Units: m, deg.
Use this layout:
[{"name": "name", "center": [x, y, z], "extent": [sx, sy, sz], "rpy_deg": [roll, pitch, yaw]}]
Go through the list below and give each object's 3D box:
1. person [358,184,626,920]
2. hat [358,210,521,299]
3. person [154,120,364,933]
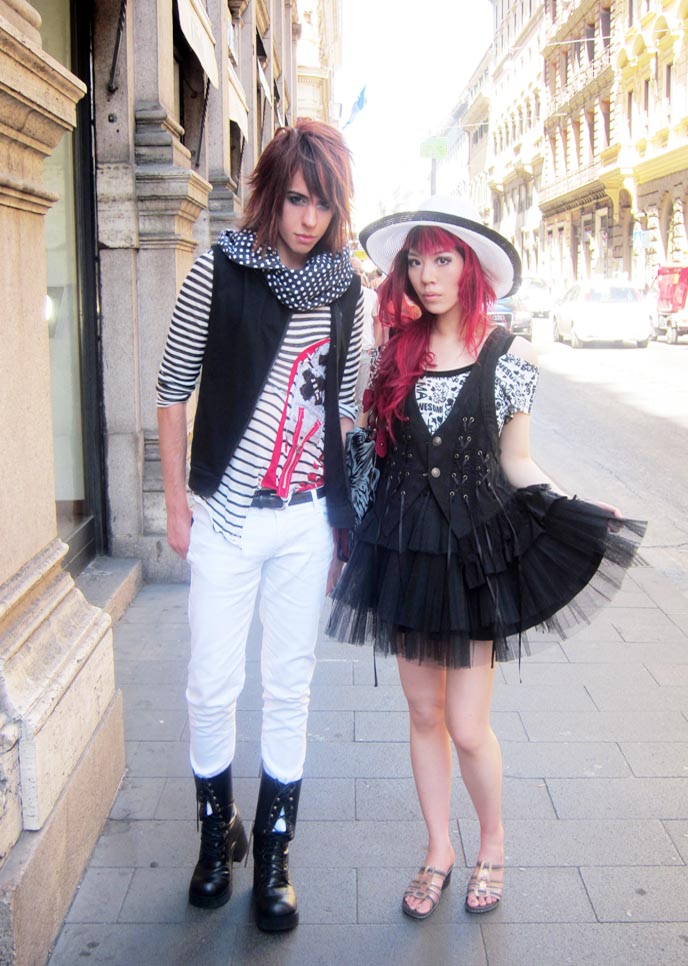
[{"name": "person", "center": [0.308, 0.187, 1.897], "extent": [0.555, 1.685, 0.395], "rpy_deg": [0, 2, 4]}, {"name": "hat", "center": [0.260, -0.583, 1.869], "extent": [0.249, 0.074, 0.265], "rpy_deg": [24, -24, -11]}, {"name": "person", "center": [-0.199, 0.113, 1.835], "extent": [0.484, 1.846, 0.339], "rpy_deg": [0, 2, 1]}]
